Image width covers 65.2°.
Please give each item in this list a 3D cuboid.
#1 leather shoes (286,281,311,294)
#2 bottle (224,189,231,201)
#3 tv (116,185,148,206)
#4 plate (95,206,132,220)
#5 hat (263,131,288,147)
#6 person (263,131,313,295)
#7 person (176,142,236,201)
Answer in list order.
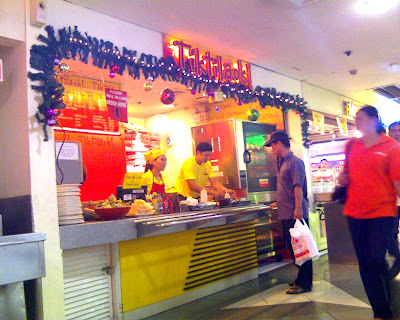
[{"bbox_3d":[1.270,1.618,3.937,0.380,0.141,0.135,3,-9,-3],"label":"leather shoes"},{"bbox_3d":[0.386,0.503,4.482,0.095,0.102,0.093,-1,-10,-3],"label":"bottle"},{"bbox_3d":[-0.795,0.411,3.688,0.142,0.190,0.391,-12,-11,40],"label":"tv"},{"bbox_3d":[-0.925,0.563,3.280,0.214,0.074,0.217,-11,-13,37],"label":"plate"},{"bbox_3d":[1.039,-0.288,4.342,0.315,0.157,0.211,-6,-1,10],"label":"hat"},{"bbox_3d":[1.238,0.643,4.193,0.525,2.104,0.669,-12,-12,40],"label":"person"},{"bbox_3d":[0.078,0.218,4.859,1.027,0.920,0.605,5,1,39],"label":"person"}]
